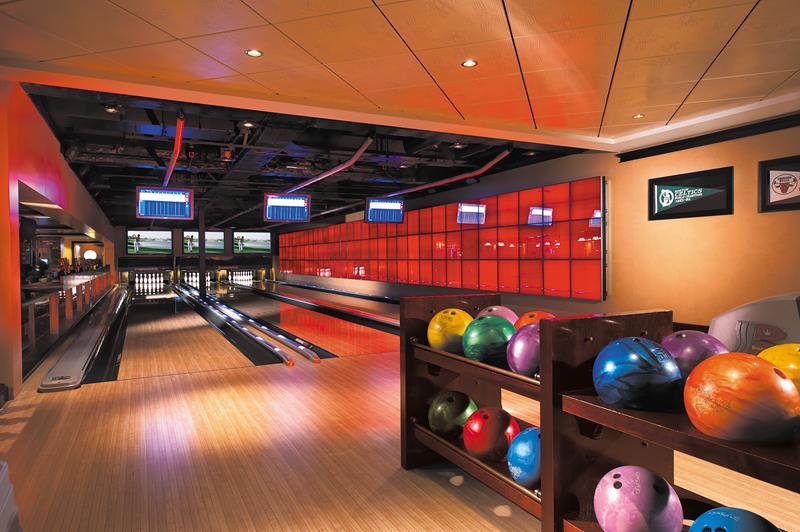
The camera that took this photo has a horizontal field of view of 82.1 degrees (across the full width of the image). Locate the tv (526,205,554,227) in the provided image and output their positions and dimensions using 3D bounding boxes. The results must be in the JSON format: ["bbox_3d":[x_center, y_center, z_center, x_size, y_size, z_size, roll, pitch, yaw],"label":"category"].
[{"bbox_3d":[2.489,-0.873,8.159,0.124,0.355,0.575,-6,11,-20],"label":"tv"}]

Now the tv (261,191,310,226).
[{"bbox_3d":[-2.275,-1.212,9.597,0.438,0.583,1.055,9,14,40],"label":"tv"}]

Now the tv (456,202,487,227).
[{"bbox_3d":[1.529,-1.083,9.651,0.146,0.491,0.765,-8,13,-30],"label":"tv"}]

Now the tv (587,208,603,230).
[{"bbox_3d":[3.074,-0.741,7.217,0.058,0.308,0.261,-6,12,-20],"label":"tv"}]

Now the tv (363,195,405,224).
[{"bbox_3d":[-0.313,-1.231,10.079,1.148,0.560,0.141,1,-2,-23],"label":"tv"}]

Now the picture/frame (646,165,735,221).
[{"bbox_3d":[3.825,-0.923,6.098,0.044,0.511,1.060,0,3,-24],"label":"picture/frame"}]

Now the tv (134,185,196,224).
[{"bbox_3d":[-4.238,-1.154,8.428,0.865,0.555,0.491,-3,12,-13],"label":"tv"}]
